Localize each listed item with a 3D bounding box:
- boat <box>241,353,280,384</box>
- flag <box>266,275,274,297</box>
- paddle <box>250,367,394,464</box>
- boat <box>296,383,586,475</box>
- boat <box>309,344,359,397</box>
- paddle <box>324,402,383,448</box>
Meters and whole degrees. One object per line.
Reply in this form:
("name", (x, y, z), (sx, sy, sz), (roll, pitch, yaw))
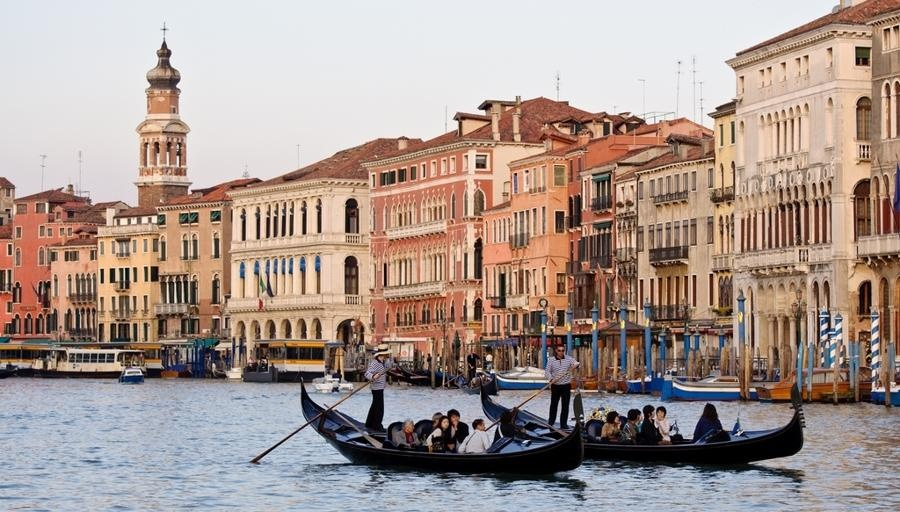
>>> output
("boat", (-15.021, 8.934, 155.552), (1.300, 1.947, 4.787), (2, -9, -35))
("flag", (-15.755, 2.311, 174.448), (0.545, 1.989, 0.814), (1, -8, -6))
("paddle", (-6.546, 8.169, 102.246), (8.026, 0.265, 0.538), (-31, -53, 12))
("boat", (-0.068, 7.479, 81.368), (11.438, 2.756, 1.649), (-4, -9, 24))
("boat", (-8.716, 8.430, 148.366), (1.351, 3.132, 3.982), (2, 0, 24))
("paddle", (-4.292, 6.766, 84.472), (0.851, 0.791, 5.820), (-39, 30, -17))
